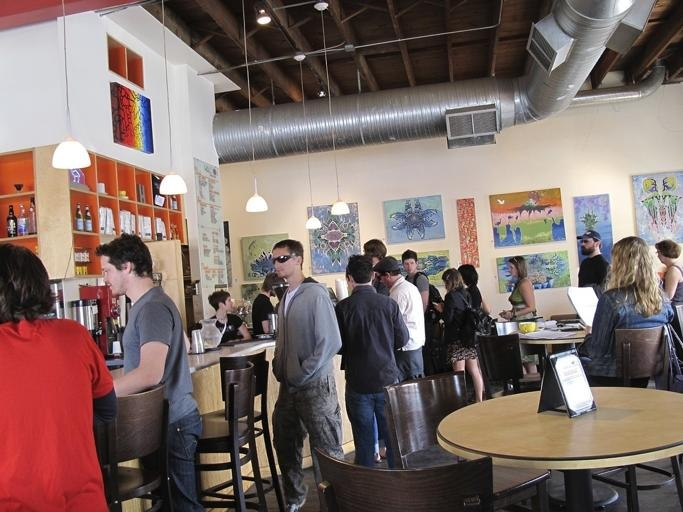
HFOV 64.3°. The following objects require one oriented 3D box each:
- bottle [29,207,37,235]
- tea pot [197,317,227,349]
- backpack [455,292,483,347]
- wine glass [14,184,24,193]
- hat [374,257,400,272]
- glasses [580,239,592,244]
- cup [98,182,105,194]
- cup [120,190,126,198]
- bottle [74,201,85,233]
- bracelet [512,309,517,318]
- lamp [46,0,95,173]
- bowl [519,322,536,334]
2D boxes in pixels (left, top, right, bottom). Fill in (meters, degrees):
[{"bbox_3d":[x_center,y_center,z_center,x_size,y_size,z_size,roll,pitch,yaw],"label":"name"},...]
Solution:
[{"bbox_3d":[-3.577,-0.424,6.267,0.074,0.321,0.228,-5,0,-34],"label":"bottle"},{"bbox_3d":[-1.142,0.668,4.723,0.188,0.240,0.241,-9,-14,36],"label":"tea pot"},{"bbox_3d":[1.396,0.755,5.877,0.277,0.673,0.483,3,-6,19],"label":"backpack"},{"bbox_3d":[-3.748,-0.801,6.312,0.119,0.089,0.106,-1,-4,-25],"label":"wine glass"},{"bbox_3d":[0.458,0.078,5.010,0.169,0.071,0.150,-8,9,-43],"label":"hat"},{"bbox_3d":[2.883,-0.179,6.396,0.114,0.032,0.113,-1,3,-6],"label":"glasses"},{"bbox_3d":[-2.848,-0.807,6.474,0.106,0.129,0.105,-4,-4,0],"label":"cup"},{"bbox_3d":[-2.757,-0.788,6.871,0.075,0.138,0.033,-3,-2,-14],"label":"cup"},{"bbox_3d":[-2.995,-0.448,6.208,0.100,0.315,0.213,-5,0,-26],"label":"bottle"},{"bbox_3d":[2.151,0.707,6.729,0.019,0.077,0.080,3,1,-12],"label":"bracelet"},{"bbox_3d":[-2.857,-1.789,5.646,0.374,1.697,1.614,-5,0,-27],"label":"lamp"},{"bbox_3d":[1.800,0.680,5.208,0.121,0.055,0.096,-5,1,-19],"label":"bowl"}]
